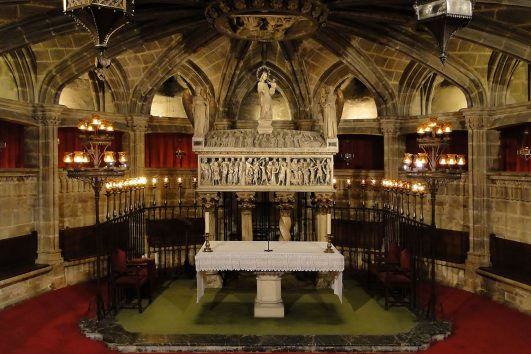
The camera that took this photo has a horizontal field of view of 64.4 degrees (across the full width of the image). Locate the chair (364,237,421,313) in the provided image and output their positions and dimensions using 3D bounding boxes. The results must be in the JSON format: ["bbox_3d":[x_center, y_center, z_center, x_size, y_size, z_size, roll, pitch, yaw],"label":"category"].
[{"bbox_3d":[3.826,2.888,12.680,1.197,1.771,1.633,-1,14,-4],"label":"chair"}]

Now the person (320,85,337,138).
[{"bbox_3d":[2.092,-2.118,13.969,0.630,1.725,0.566,6,15,22],"label":"person"}]

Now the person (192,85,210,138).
[{"bbox_3d":[-2.134,-2.083,13.933,0.548,1.583,0.595,-2,14,-9],"label":"person"}]

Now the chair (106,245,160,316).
[{"bbox_3d":[-3.992,2.904,12.405,1.175,1.820,1.438,0,14,-1],"label":"chair"}]

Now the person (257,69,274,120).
[{"bbox_3d":[0.033,-2.779,14.333,0.514,1.635,1.036,0,14,-1],"label":"person"}]

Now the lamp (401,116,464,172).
[{"bbox_3d":[5.393,-1.091,13.484,2.111,1.905,1.929,0,-3,0],"label":"lamp"}]

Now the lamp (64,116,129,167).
[{"bbox_3d":[-5.476,-1.175,13.500,1.986,1.543,1.938,2,-3,-29],"label":"lamp"}]
